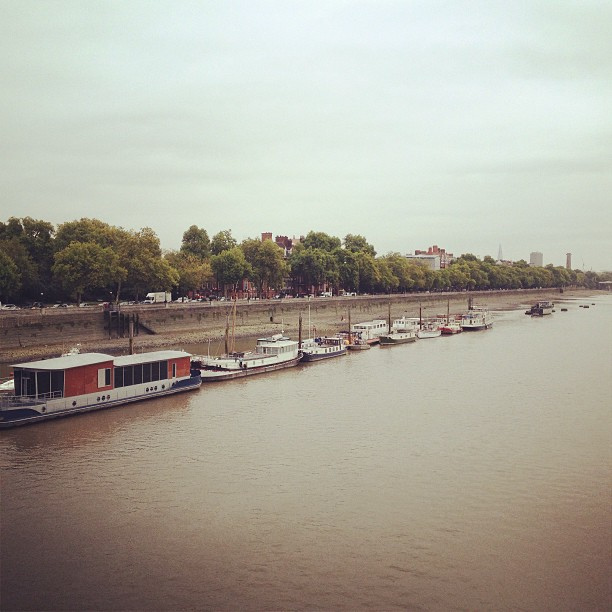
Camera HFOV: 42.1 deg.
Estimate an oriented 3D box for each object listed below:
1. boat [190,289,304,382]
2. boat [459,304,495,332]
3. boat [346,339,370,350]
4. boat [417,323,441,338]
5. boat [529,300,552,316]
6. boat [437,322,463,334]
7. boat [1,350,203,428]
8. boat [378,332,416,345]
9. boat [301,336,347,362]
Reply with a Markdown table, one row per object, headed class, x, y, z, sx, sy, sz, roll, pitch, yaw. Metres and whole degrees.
| class | x | y | z | sx | sy | sz | roll | pitch | yaw |
| --- | --- | --- | --- | --- | --- | --- | --- | --- | --- |
| boat | -3.965 | 2.750 | 57.605 | 3.323 | 4.999 | 10.956 | 0 | 3 | 43 |
| boat | 23.034 | 1.705 | 106.852 | 2.244 | 2.440 | 6.495 | 3 | 11 | 20 |
| boat | 4.809 | 3.563 | 72.230 | 1.148 | 0.824 | 2.521 | 5 | 9 | 40 |
| boat | 13.495 | 2.850 | 86.579 | 1.165 | 1.864 | 4.947 | 5 | 8 | 28 |
| boat | 40.607 | 0.439 | 137.222 | 2.010 | 2.123 | 6.172 | 3 | 9 | 21 |
| boat | 16.783 | 2.666 | 91.497 | 1.670 | 1.103 | 4.859 | 4 | 8 | 35 |
| boat | -10.992 | 4.099 | 43.449 | 2.515 | 3.368 | 14.162 | 3 | 8 | 30 |
| boat | 8.939 | 3.242 | 78.325 | 1.308 | 1.319 | 4.767 | -1 | 0 | 35 |
| boat | 1.389 | 3.766 | 65.551 | 2.385 | 1.421 | 7.534 | 1 | 7 | 18 |
